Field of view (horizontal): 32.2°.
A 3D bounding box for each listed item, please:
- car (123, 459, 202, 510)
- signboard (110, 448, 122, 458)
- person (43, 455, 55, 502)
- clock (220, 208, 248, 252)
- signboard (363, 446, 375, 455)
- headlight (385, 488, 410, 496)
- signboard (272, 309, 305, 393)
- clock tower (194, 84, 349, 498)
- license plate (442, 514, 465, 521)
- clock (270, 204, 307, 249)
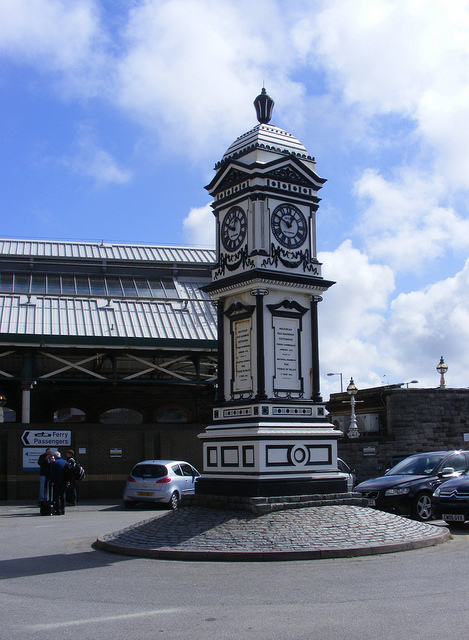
[{"bbox_3d":[-1.874,4.157,21.417,1.537,1.165,2.575,-4,-5,27],"label":"car"},{"bbox_3d":[-3.898,4.354,26.525,0.346,0.219,0.043,4,-21,-14],"label":"signboard"},{"bbox_3d":[-4.574,3.880,19.999,0.242,1.098,0.593,2,-13,-12],"label":"person"},{"bbox_3d":[-0.002,-1.670,15.303,0.094,0.819,0.880,11,-13,-29],"label":"clock"},{"bbox_3d":[4.597,4.504,27.811,0.320,0.202,0.043,1,-7,1],"label":"signboard"},{"bbox_3d":[3.101,3.294,15.534,0.444,0.136,0.082,-2,-13,6],"label":"headlight"},{"bbox_3d":[0.930,0.603,14.506,0.840,1.503,0.120,3,5,39],"label":"signboard"},{"bbox_3d":[0.586,-0.428,14.730,2.224,7.080,1.580,-2,-13,6],"label":"clock tower"},{"bbox_3d":[3.850,3.496,14.350,0.387,0.110,0.175,-4,-12,15],"label":"license plate"},{"bbox_3d":[1.004,-1.735,15.124,0.073,0.882,0.956,-18,24,-38],"label":"clock"}]
